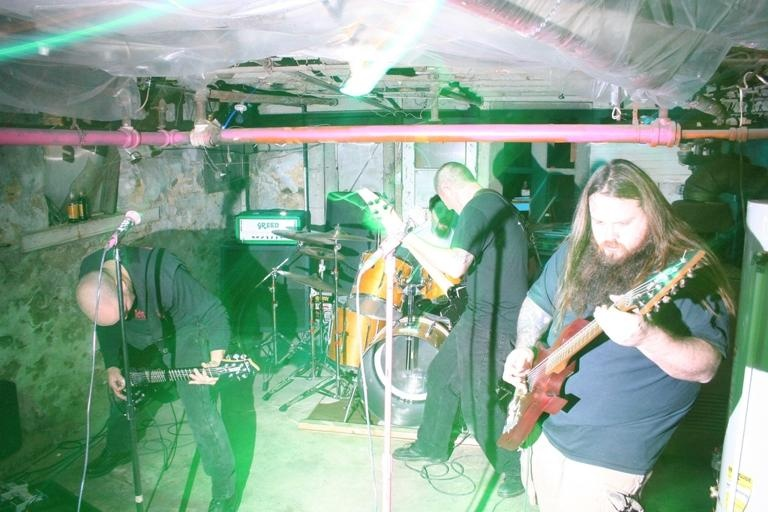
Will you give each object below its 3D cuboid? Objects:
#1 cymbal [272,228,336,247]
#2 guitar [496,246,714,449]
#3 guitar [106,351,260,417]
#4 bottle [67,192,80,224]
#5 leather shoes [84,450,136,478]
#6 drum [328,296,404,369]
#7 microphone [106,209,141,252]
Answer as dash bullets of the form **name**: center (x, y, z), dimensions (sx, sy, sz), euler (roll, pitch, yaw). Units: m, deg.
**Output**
- **cymbal**: center (-0.907, -0.225, 6.905), dimensions (0.448, 0.072, 0.382), euler (12, 0, 10)
- **guitar**: center (1.758, 0.535, 4.114), dimensions (0.754, 0.211, 1.995), euler (1, 25, 43)
- **guitar**: center (-1.656, 1.071, 5.017), dimensions (1.165, 0.508, 0.308), euler (2, 4, 15)
- **bottle**: center (-3.206, -0.502, 6.089), dimensions (0.062, 0.294, 0.120), euler (2, 4, 23)
- **leather shoes**: center (-2.642, 1.966, 5.657), dimensions (0.228, 0.209, 0.501), euler (-8, -9, 34)
- **drum**: center (-0.320, 1.010, 6.939), dimensions (0.774, 0.774, 0.744), euler (-17, -39, 24)
- **microphone**: center (-2.017, -0.199, 4.522), dimensions (0.224, 0.303, 0.645), euler (-1, 5, -25)
